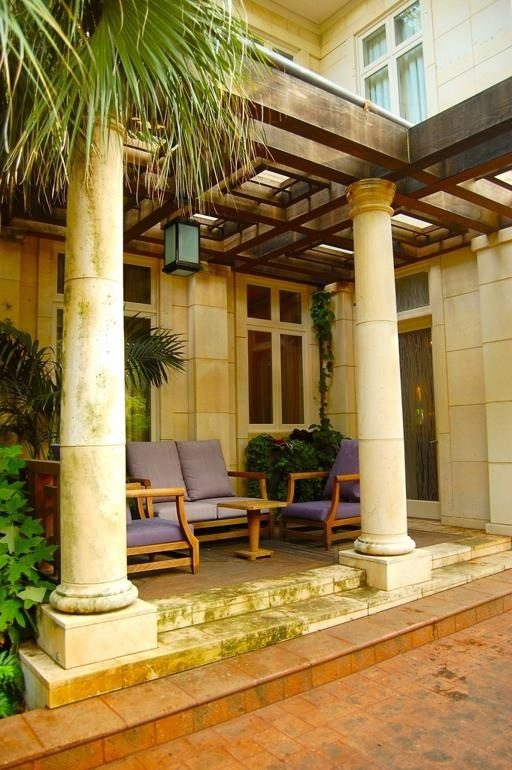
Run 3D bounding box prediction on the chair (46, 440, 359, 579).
[{"bbox_3d":[-0.231,1.080,5.494,2.918,1.144,1.677,-1,-2,-42],"label":"chair"}]
